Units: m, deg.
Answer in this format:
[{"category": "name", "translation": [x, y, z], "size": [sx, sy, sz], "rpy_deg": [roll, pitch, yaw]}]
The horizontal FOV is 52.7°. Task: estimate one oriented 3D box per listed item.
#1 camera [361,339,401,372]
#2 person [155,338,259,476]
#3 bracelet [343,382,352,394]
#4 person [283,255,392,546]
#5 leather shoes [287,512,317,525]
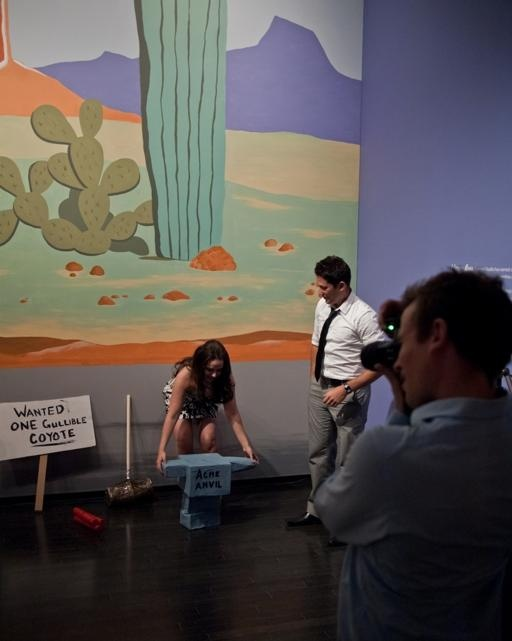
[{"category": "camera", "translation": [0.177, 0.047, 0.753], "size": [0.027, 0.043, 0.048], "rpy_deg": [7, -8, -44]}, {"category": "person", "translation": [-0.385, 0.634, 3.240], "size": [0.640, 1.012, 0.663], "rpy_deg": [-1, 17, -23]}, {"category": "bracelet", "translation": [0.477, 0.352, 2.706], "size": [0.041, 0.059, 0.055], "rpy_deg": [-7, -19, -15]}, {"category": "person", "translation": [0.486, 0.464, 2.900], "size": [0.383, 1.568, 0.589], "rpy_deg": [-7, 9, -39]}, {"category": "leather shoes", "translation": [0.269, 1.126, 2.947], "size": [0.193, 0.077, 0.060], "rpy_deg": [5, -7, -11]}]
